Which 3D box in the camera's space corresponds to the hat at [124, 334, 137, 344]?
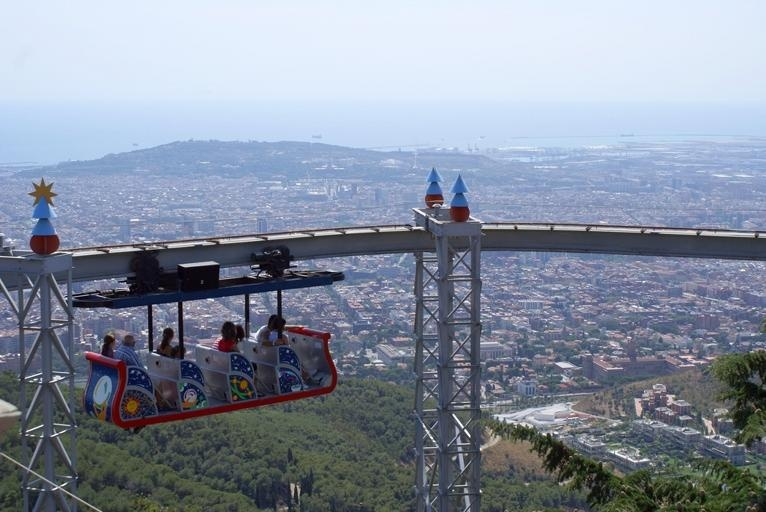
[{"bbox_3d":[-6.474,2.140,23.777,0.227,0.253,0.278,7,12,6],"label":"hat"}]
